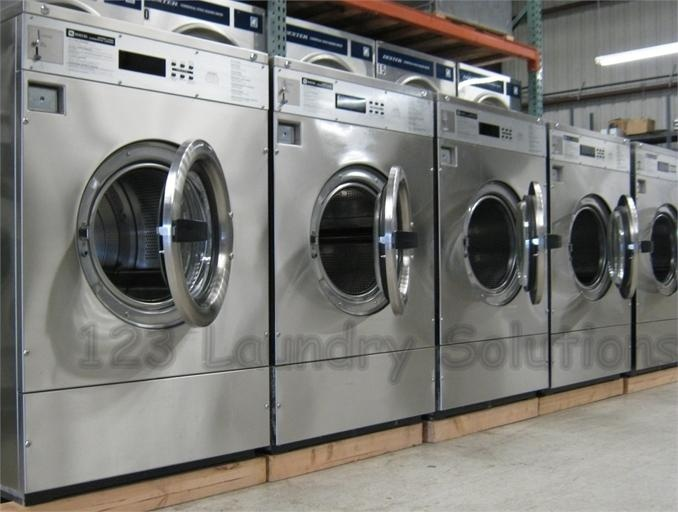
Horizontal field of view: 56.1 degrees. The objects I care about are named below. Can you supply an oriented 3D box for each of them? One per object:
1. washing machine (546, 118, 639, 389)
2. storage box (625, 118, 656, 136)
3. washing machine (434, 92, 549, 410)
[{"bbox_3d":[1.598,-0.021,4.622,0.867,1.707,0.768,1,-1,-26],"label":"washing machine"},{"bbox_3d":[4.121,-1.728,8.625,0.289,0.192,0.282,1,-2,-40],"label":"storage box"},{"bbox_3d":[0.755,0.003,3.991,0.970,1.722,0.861,-1,0,-26],"label":"washing machine"}]
